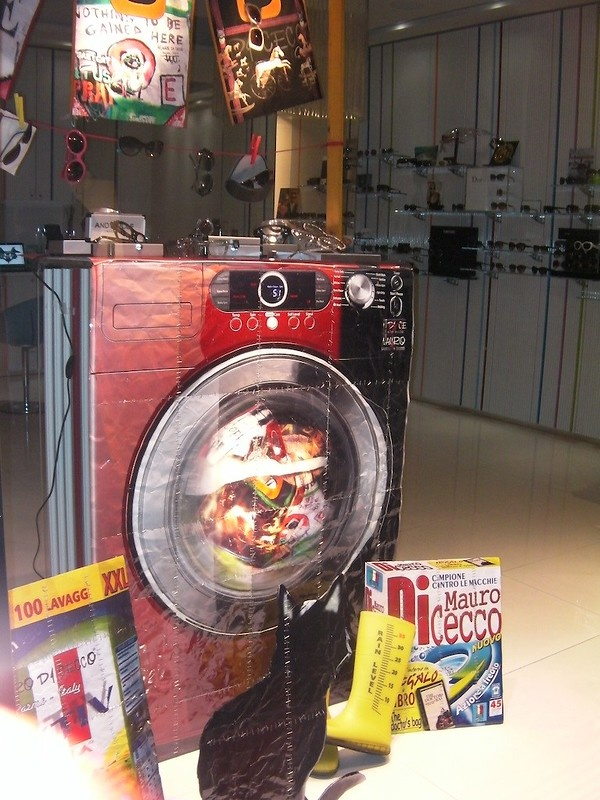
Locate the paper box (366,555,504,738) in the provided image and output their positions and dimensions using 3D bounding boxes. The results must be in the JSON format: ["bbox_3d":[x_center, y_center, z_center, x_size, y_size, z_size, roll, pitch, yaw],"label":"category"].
[{"bbox_3d":[0.481,0.815,1.797,0.379,0.163,0.478,-21,37,29],"label":"paper box"}]
